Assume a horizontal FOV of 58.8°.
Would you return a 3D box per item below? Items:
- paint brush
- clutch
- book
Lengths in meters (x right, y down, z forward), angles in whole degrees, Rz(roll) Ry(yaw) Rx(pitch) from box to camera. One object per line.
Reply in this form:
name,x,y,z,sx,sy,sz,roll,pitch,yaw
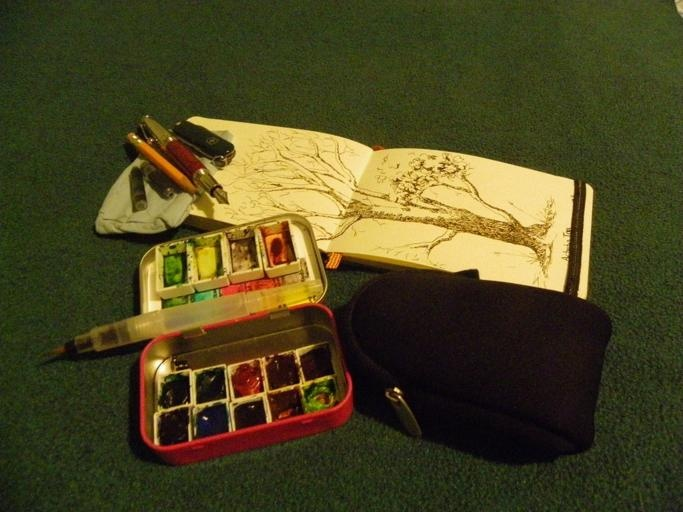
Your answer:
paint brush,-0.373,0.148,1.426,0.673,0.078,0.063,-13,82,0
clutch,0.264,0.242,1.306,0.514,0.155,0.351,10,58,16
book,0.160,-0.136,1.568,1.044,0.085,0.393,8,58,9
